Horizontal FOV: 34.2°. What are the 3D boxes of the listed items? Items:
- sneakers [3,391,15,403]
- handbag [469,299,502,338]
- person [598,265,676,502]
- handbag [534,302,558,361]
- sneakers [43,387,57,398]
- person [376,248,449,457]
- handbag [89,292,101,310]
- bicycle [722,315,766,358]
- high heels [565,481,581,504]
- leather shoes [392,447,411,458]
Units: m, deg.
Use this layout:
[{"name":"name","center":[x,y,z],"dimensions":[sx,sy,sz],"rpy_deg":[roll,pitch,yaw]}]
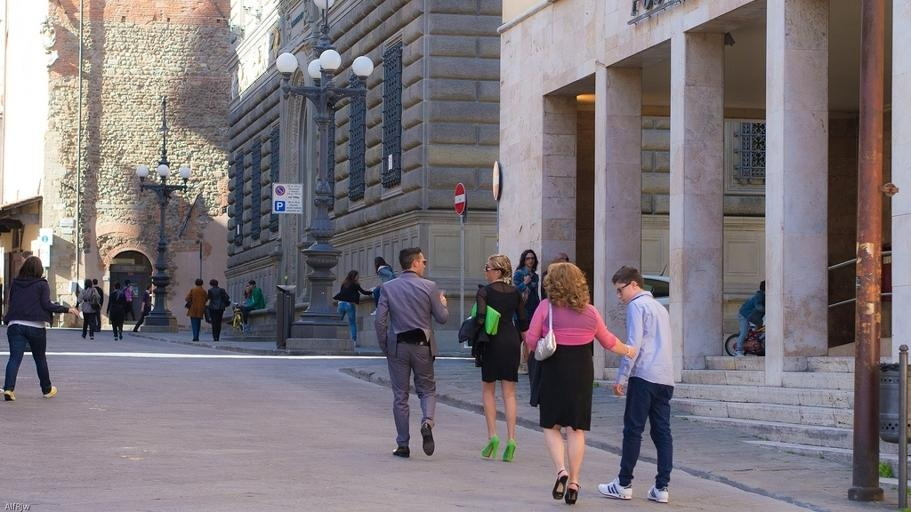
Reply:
[{"name":"sneakers","center":[-8.829,2.748,29.314],"dimensions":[0.150,0.149,0.333],"rpy_deg":[0,-35,-9]},{"name":"handbag","center":[0.520,1.098,25.686],"dimensions":[0.555,0.514,0.220],"rpy_deg":[12,7,38]},{"name":"person","center":[2.981,2.030,23.952],"dimensions":[0.992,3.722,0.773],"rpy_deg":[-1,5,9]},{"name":"handbag","center":[1.440,1.213,23.877],"dimensions":[0.322,0.902,0.281],"rpy_deg":[-4,5,-22]},{"name":"sneakers","center":[-8.111,2.709,29.693],"dimensions":[0.132,0.130,0.296],"rpy_deg":[11,29,19]},{"name":"person","center":[-0.785,1.638,25.834],"dimensions":[1.205,3.543,1.056],"rpy_deg":[-2,5,-3]},{"name":"handbag","center":[-12.668,1.547,51.965],"dimensions":[0.374,0.573,0.626],"rpy_deg":[-6,-2,10]},{"name":"bicycle","center":[6.388,1.871,33.458],"dimensions":[1.127,0.670,0.686],"rpy_deg":[-1,-2,15]},{"name":"high heels","center":[1.826,3.734,23.520],"dimensions":[0.234,0.348,0.149],"rpy_deg":[-4,5,-21]},{"name":"leather shoes","center":[-0.935,3.337,25.529],"dimensions":[0.130,0.195,0.294],"rpy_deg":[-4,10,-34]}]
